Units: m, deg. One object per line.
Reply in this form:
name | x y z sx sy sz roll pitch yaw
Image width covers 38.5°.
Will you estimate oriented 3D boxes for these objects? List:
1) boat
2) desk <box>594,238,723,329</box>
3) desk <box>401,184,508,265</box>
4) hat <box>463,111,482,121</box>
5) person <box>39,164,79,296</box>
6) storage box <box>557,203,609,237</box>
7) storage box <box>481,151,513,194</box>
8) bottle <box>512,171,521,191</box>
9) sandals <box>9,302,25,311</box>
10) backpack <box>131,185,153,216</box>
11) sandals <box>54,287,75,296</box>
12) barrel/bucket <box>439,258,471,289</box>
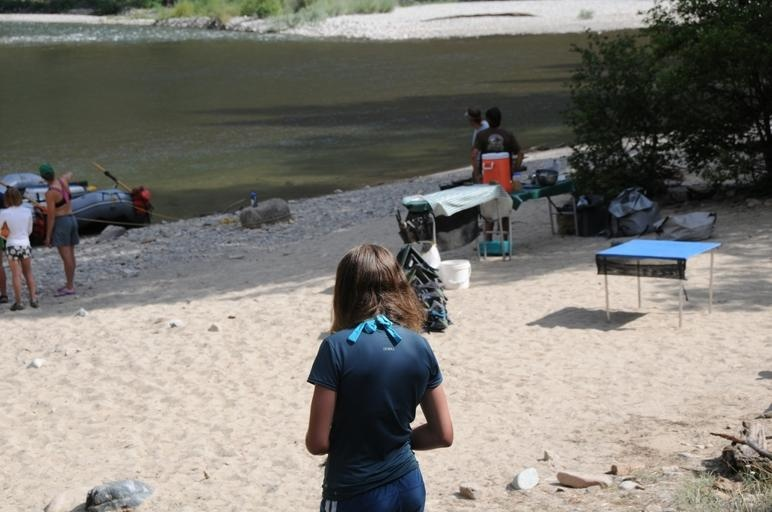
boat | -7.985 -1.319 29.362 3.185 1.004 2.264 -8 15 -41
desk | 4.922 0.486 20.267 1.847 1.247 2.022 0 4 25
desk | 1.390 -0.730 22.310 2.379 1.282 0.962 -12 11 -38
hat | 1.846 -2.997 23.412 0.282 0.147 0.360 2 15 -13
person | -6.699 -0.550 23.039 0.721 2.760 1.270 -9 11 -15
storage box | 4.260 -0.777 24.096 0.908 0.483 0.856 2 6 27
storage box | 2.290 -1.795 22.840 0.632 0.727 0.641 1 19 18
bottle | 2.707 -1.549 22.902 0.270 0.367 0.175 0 -37 0
sandals | -7.398 1.039 22.323 0.274 0.106 0.120 5 5 28
backpack | -6.683 -1.525 30.078 0.347 0.697 0.713 -1 2 37
sandals | -6.706 0.741 23.203 0.345 0.121 0.187 2 3 -10
barrel/bucket | 1.371 0.370 21.892 0.648 0.389 0.575 0 0 0
